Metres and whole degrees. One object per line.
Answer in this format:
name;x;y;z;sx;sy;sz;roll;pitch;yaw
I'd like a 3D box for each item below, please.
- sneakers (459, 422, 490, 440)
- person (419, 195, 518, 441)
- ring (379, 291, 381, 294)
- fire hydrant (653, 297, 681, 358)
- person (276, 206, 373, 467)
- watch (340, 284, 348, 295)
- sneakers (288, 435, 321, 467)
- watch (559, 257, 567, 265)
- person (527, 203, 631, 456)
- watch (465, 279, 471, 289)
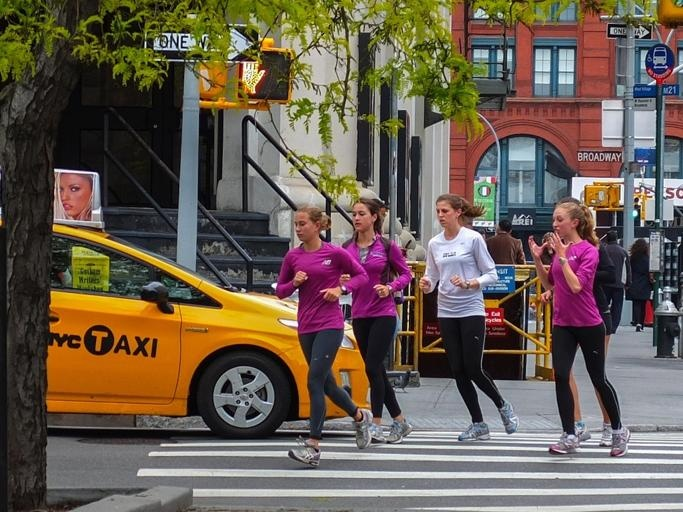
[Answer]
sneakers;1.316;1.715;13.751;0.374;0.195;0.137;-1;0;-10
person;1.210;0.595;13.480;0.885;2.373;0.660;-1;0;7
ring;0.360;0.325;13.185;0.020;0.030;0.029;1;-8;-4
fire hydrant;5.187;1.126;22.131;0.412;0.931;0.727;-1;0;13
person;-0.218;0.694;12.661;0.624;2.258;1.062;-1;0;34
watch;0.019;0.299;12.626;0.086;0.083;0.062;23;23;19
sneakers;-0.332;1.708;12.360;0.332;0.245;0.172;24;-6;-12
watch;2.041;0.031;12.917;0.068;0.077;0.050;-8;-1;-31
person;2.220;0.666;13.057;0.709;2.410;0.504;-1;0;-37
watch;1.201;0.255;13.224;0.042;0.059;0.064;3;-6;14
